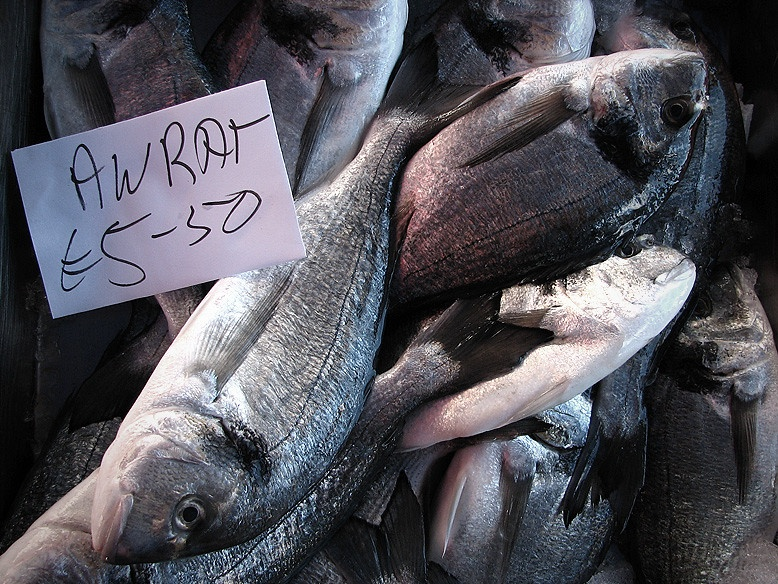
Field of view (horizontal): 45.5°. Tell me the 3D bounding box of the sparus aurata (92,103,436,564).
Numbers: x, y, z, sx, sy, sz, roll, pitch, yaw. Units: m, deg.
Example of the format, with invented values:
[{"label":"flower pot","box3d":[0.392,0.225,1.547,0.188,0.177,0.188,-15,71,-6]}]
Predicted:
[{"label":"sparus aurata","box3d":[-0.184,0.057,2.291,0.358,0.371,1.493,11,66,29]}]
